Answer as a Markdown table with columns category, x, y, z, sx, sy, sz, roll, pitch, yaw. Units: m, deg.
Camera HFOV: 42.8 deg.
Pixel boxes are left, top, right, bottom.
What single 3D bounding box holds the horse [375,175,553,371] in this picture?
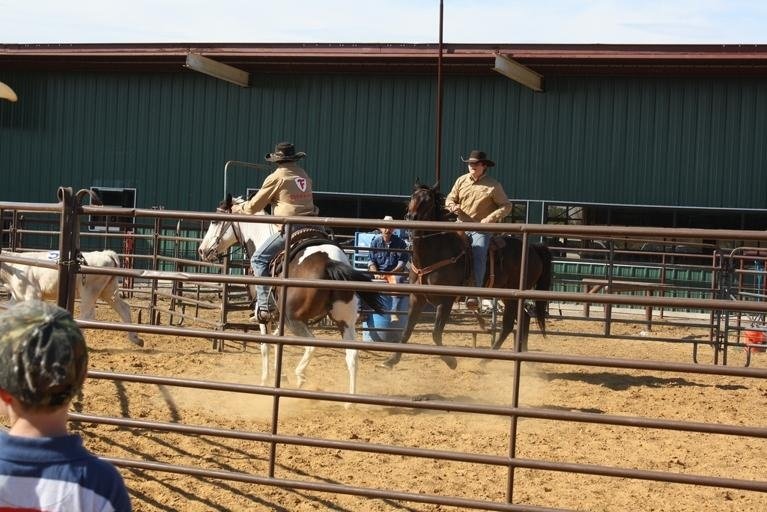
| category | x | y | z | sx | sy | sz | roll | pitch | yaw |
| --- | --- | --- | --- | --- | --- | --- | --- | --- | --- |
| horse | 1.517 | 0.352 | 16.999 | 4.083 | 2.877 | 0.915 | 5 | 3 | -42 |

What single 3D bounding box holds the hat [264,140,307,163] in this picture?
| category | x | y | z | sx | sy | sz | roll | pitch | yaw |
| --- | --- | --- | --- | --- | --- | --- | --- | --- | --- |
| hat | -1.610 | -1.663 | 16.054 | 0.709 | 0.317 | 0.839 | -3 | 6 | -1 |
